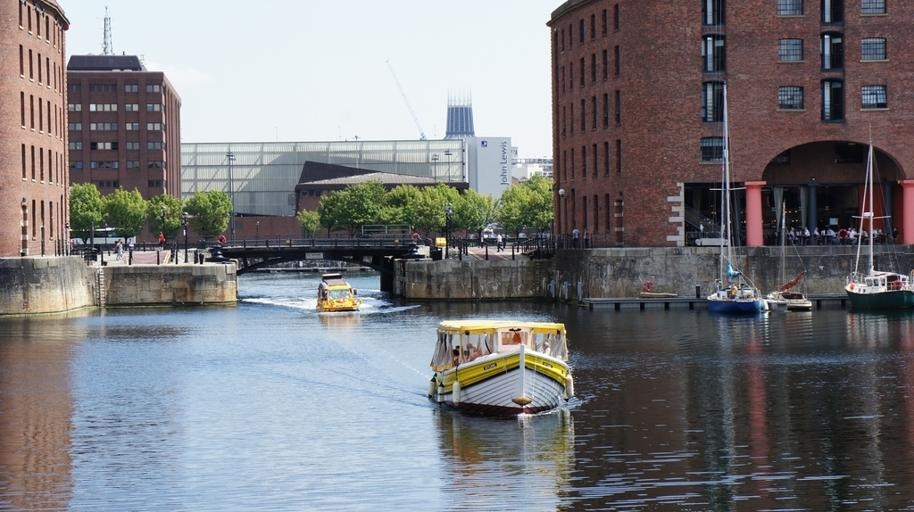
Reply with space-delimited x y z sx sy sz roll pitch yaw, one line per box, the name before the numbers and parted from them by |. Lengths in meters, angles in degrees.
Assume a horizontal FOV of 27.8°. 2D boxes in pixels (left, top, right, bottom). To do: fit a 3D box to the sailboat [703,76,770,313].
sailboat | 27.717 -5.562 185.278 5.212 24.214 9.251 -1 -2 7
